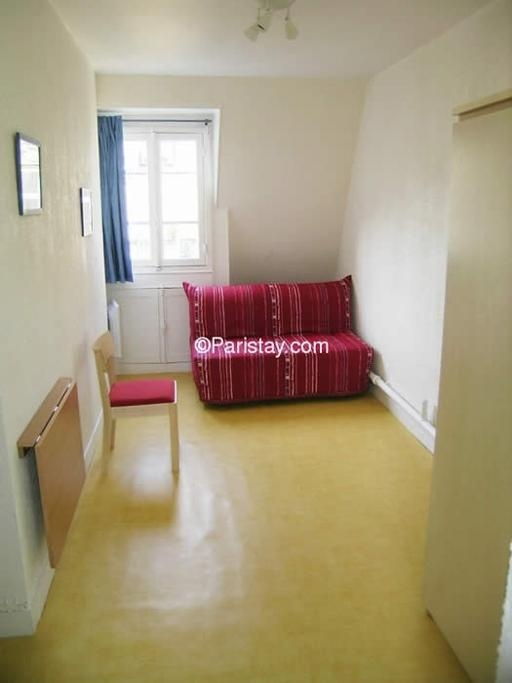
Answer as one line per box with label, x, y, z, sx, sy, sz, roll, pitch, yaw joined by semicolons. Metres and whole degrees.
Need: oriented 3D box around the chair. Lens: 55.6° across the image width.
chair;-0.641;0.321;3.104;0.526;1.166;0.711;-1;15;-6
